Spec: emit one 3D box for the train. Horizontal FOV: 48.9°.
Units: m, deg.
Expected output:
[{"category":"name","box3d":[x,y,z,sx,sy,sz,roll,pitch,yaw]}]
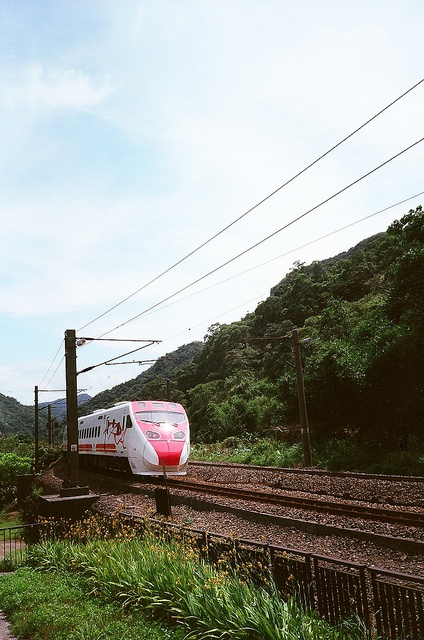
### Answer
[{"category":"train","box3d":[-3.614,5.320,20.651,2.282,3.394,12.104,3,-17,-21]}]
